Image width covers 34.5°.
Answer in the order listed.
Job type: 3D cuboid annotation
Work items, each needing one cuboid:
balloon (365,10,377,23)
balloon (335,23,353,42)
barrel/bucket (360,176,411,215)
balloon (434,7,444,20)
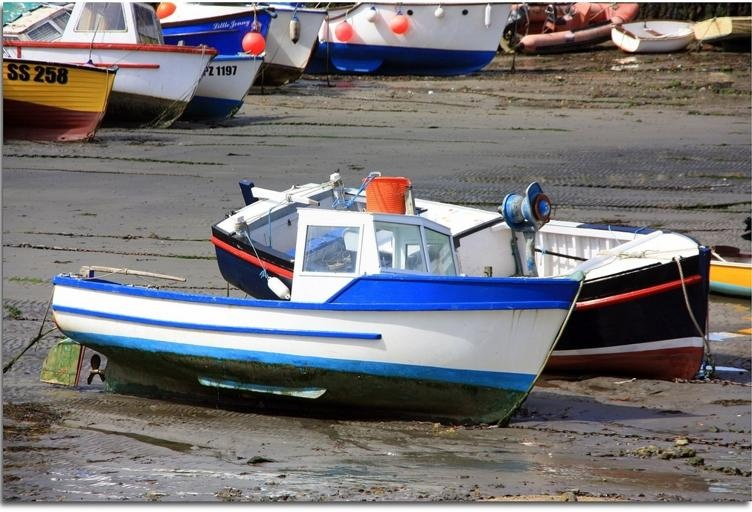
[{"bbox_3d":[-0.188,-7.669,38.800,0.451,0.441,0.357,9,31,6],"label":"balloon"},{"bbox_3d":[-1.057,-7.135,38.805,0.513,0.451,0.539,34,-9,10],"label":"balloon"},{"bbox_3d":[0.160,-0.941,19.035,0.888,0.511,0.597,3,-1,11],"label":"barrel/bucket"},{"bbox_3d":[2.021,-7.709,38.589,0.387,0.386,0.305,11,35,5],"label":"balloon"}]
